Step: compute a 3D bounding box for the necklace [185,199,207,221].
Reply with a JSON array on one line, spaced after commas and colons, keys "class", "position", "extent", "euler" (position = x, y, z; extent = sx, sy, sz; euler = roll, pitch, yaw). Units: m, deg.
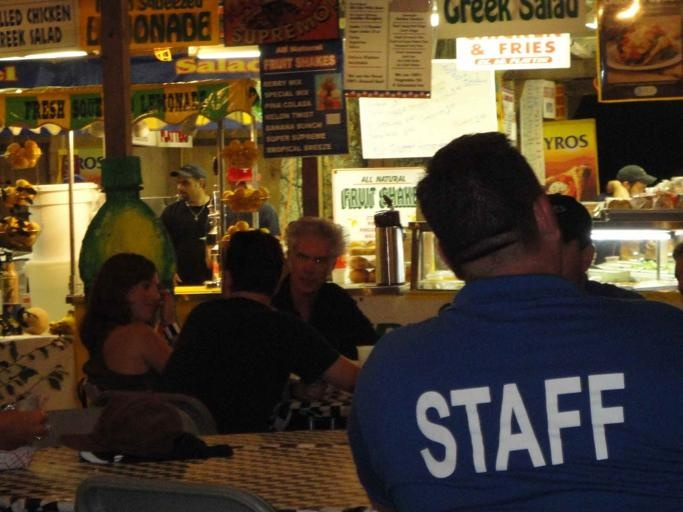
[{"class": "necklace", "position": [-1.244, -0.400, 7.529], "extent": [0.126, 0.164, 0.060], "euler": [-3, -4, 2]}]

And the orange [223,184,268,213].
[{"class": "orange", "position": [-0.641, -0.391, 6.036], "extent": [0.226, 0.101, 0.220], "euler": [0, -3, 5]}]

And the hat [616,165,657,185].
[{"class": "hat", "position": [2.683, -0.767, 8.068], "extent": [0.480, 0.178, 0.315], "euler": [8, 12, 26]}]

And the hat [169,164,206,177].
[{"class": "hat", "position": [-1.294, -0.754, 7.540], "extent": [0.236, 0.081, 0.148], "euler": [3, -2, -42]}]

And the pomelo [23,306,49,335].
[{"class": "pomelo", "position": [-1.891, 0.408, 5.363], "extent": [0.129, 0.161, 0.275], "euler": [-1, -1, -17]}]

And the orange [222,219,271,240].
[{"class": "orange", "position": [-0.707, -0.187, 5.876], "extent": [0.309, 0.114, 0.298], "euler": [1, -1, 3]}]

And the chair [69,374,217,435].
[{"class": "chair", "position": [-0.716, 0.530, 3.123], "extent": [0.462, 0.229, 0.263], "euler": [6, 8, 3]}]
